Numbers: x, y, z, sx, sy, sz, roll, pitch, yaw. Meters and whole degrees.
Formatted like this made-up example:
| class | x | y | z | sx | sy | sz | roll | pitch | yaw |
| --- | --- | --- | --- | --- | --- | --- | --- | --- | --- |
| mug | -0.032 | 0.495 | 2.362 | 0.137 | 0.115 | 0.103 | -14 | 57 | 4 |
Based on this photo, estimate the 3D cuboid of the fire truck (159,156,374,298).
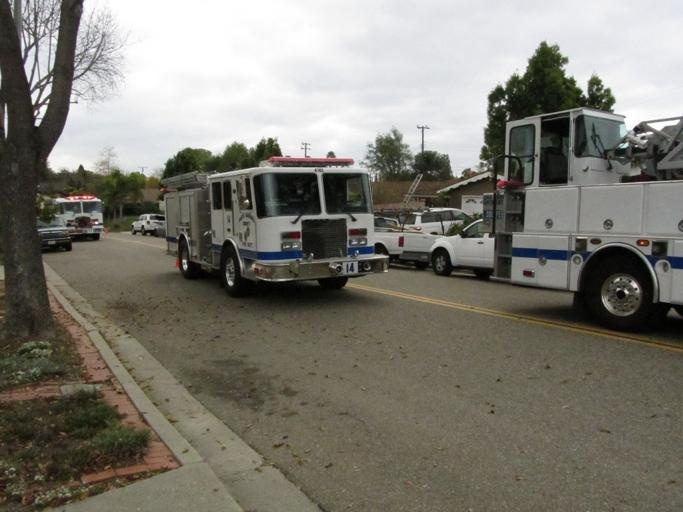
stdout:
| class | x | y | z | sx | sy | sz | roll | pitch | yaw |
| --- | --- | --- | --- | --- | --- | --- | --- | --- | --- |
| fire truck | -2.879 | -0.792 | 13.942 | 8.585 | 3.415 | 2.762 | 8 | 11 | 43 |

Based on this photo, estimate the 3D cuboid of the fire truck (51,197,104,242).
| class | x | y | z | sx | sy | sz | roll | pitch | yaw |
| --- | --- | --- | --- | --- | --- | --- | --- | --- | --- |
| fire truck | -18.563 | -2.477 | 38.332 | 2.525 | 2.861 | 5.918 | -5 | 2 | -25 |
